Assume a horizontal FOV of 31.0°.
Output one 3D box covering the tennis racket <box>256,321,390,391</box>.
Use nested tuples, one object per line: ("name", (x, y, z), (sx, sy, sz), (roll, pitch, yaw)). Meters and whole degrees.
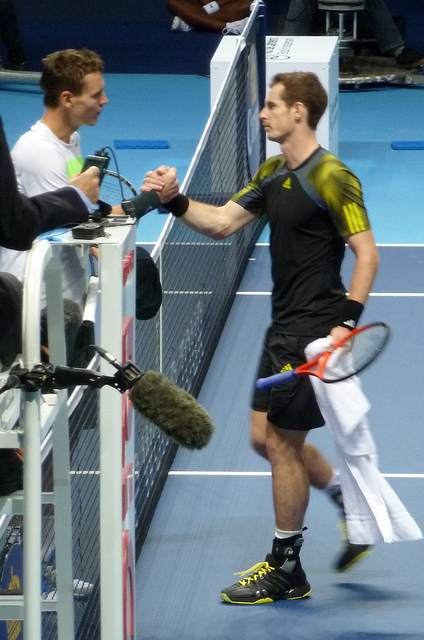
("tennis racket", (0.492, 0.179, 3.219), (0.521, 0.069, 0.259), (-21, 32, 21))

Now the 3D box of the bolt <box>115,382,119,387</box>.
("bolt", (-0.201, 0.134, 1.601), (0.009, 0.009, 0.003), (-17, 31, -23))

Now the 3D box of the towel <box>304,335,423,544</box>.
("towel", (0.830, 0.703, 4.179), (0.491, 1.457, 0.450), (-10, 36, 26))

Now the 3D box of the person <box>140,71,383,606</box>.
("person", (0.353, 0.112, 3.915), (0.957, 2.514, 1.498), (-2, 28, 6))

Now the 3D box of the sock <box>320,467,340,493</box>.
("sock", (0.651, 0.859, 4.113), (0.103, 0.099, 0.117), (-3, 32, 15))

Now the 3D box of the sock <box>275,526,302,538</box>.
("sock", (0.376, 1.042, 3.767), (0.125, 0.050, 0.071), (1, 26, 10))

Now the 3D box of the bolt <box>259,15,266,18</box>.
("bolt", (0.528, -3.220, 8.117), (0.066, 0.013, 0.036), (0, 54, -4))
